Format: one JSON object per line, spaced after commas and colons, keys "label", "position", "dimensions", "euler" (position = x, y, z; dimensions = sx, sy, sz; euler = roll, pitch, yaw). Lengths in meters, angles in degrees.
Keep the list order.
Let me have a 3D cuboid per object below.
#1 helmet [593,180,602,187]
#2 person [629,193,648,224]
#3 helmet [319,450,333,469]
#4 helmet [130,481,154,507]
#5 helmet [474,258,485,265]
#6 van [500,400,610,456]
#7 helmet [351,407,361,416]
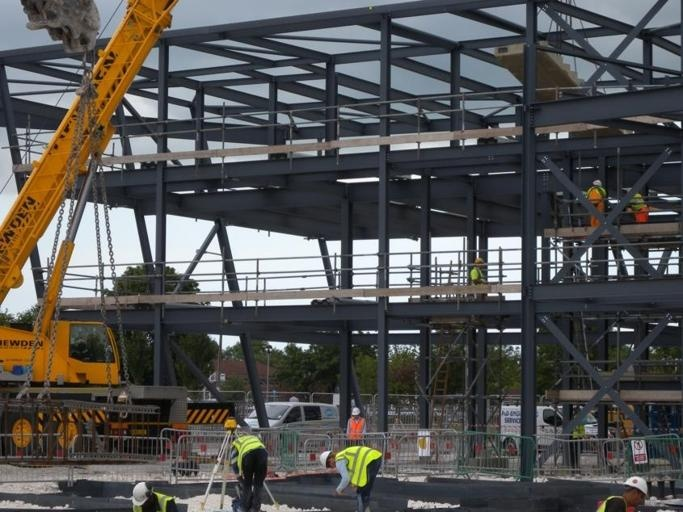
{"label": "helmet", "position": [8.402, -2.403, 60.127], "dimensions": [0.282, 0.318, 0.361], "euler": [-1, -24, 8]}
{"label": "person", "position": [9.609, -1.569, 59.063], "dimensions": [0.600, 1.265, 1.877], "euler": [-2, -11, 9]}
{"label": "helmet", "position": [-0.348, 5.230, 46.451], "dimensions": [0.348, 0.382, 0.457], "euler": [-19, -9, -16]}
{"label": "helmet", "position": [-4.734, 5.739, 43.898], "dimensions": [0.423, 0.559, 0.296], "euler": [-6, -39, 19]}
{"label": "helmet", "position": [4.575, 0.209, 60.672], "dimensions": [0.274, 0.137, 0.381], "euler": [-2, -5, 2]}
{"label": "van", "position": [7.963, 6.288, 68.680], "dimensions": [3.857, 2.051, 2.441], "euler": [-6, -6, 23]}
{"label": "helmet", "position": [0.423, 4.692, 54.610], "dimensions": [0.253, 0.180, 0.348], "euler": [0, -5, 5]}
